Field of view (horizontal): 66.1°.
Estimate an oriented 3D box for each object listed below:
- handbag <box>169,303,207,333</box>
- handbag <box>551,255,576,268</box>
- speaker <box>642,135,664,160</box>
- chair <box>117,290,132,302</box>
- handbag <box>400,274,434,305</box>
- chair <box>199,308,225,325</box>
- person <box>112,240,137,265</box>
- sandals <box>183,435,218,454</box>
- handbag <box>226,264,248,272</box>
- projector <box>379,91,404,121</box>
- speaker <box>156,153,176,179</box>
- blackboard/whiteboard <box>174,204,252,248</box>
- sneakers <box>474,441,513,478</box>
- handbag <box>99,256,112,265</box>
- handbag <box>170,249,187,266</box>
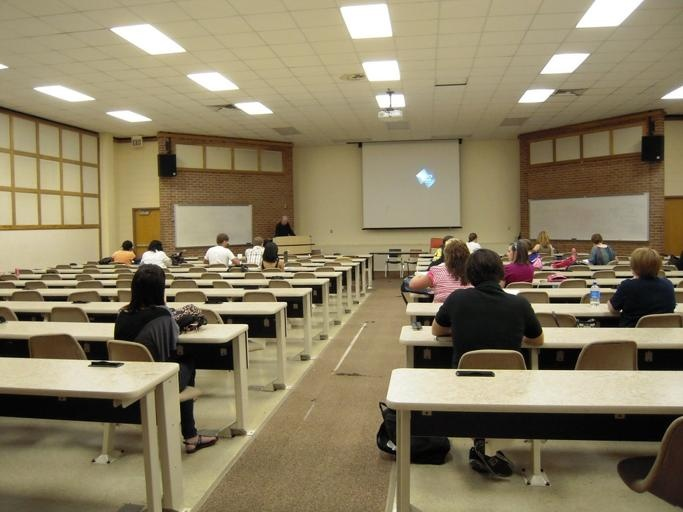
[{"bbox_3d":[-1.250,0.496,4.250,0.235,0.095,0.228,0,7,-32],"label":"handbag"},{"bbox_3d":[3.943,0.108,9.203,0.458,0.149,0.243,-3,2,1],"label":"handbag"},{"bbox_3d":[7.763,-2.678,13.071,0.489,0.648,0.335,7,13,38],"label":"speaker"},{"bbox_3d":[-2.720,0.482,6.526,0.159,0.196,0.161,2,9,1],"label":"chair"},{"bbox_3d":[0.883,0.416,6.069,0.517,0.185,0.502,1,9,8],"label":"handbag"},{"bbox_3d":[-1.224,0.573,4.930,0.151,0.211,0.168,3,5,10],"label":"chair"},{"bbox_3d":[-4.707,-0.066,11.249,0.502,0.545,1.441,-5,10,-23],"label":"person"},{"bbox_3d":[-1.134,1.493,4.189,0.249,0.090,0.112,-3,5,-38],"label":"sandals"},{"bbox_3d":[-1.733,0.211,8.733,0.266,0.097,0.203,-2,0,10],"label":"handbag"},{"bbox_3d":[1.114,-3.388,11.806,0.743,0.644,0.511,0,-5,3],"label":"projector"},{"bbox_3d":[-4.978,-2.580,14.910,0.478,0.622,0.286,-4,11,-21],"label":"speaker"},{"bbox_3d":[-3.955,-0.910,15.550,1.728,0.887,0.101,1,-2,-38],"label":"blackboard/whiteboard"},{"bbox_3d":[1.096,1.487,3.879,0.325,0.207,0.183,-3,0,27],"label":"sneakers"},{"bbox_3d":[-5.217,0.100,11.558,0.275,0.079,0.923,-4,9,-23],"label":"handbag"},{"bbox_3d":[-3.866,0.026,12.294,0.449,0.235,0.519,-3,11,-38],"label":"handbag"}]
